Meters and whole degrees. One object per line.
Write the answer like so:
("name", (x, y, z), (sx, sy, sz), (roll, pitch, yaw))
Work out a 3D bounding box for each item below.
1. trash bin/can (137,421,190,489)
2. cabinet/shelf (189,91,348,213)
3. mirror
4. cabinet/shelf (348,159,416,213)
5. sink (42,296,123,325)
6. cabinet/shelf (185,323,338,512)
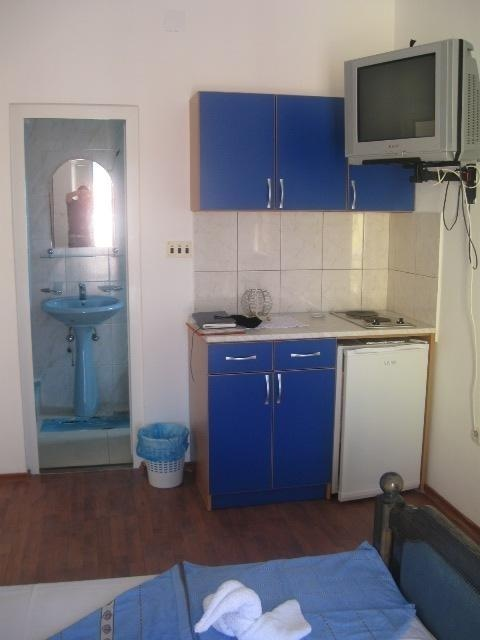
("trash bin/can", (-0.433, 0.751, 3.035), (0.272, 0.344, 0.322), (0, 1, -4))
("cabinet/shelf", (0.168, -0.872, 2.877), (0.803, 0.618, 0.298), (-2, 5, -10))
("mirror", (-0.939, -0.723, 3.127), (0.458, 0.771, 0.013), (0, 13, -6))
("cabinet/shelf", (0.782, -0.738, 2.939), (0.405, 0.311, 0.236), (-1, 6, -11))
("sink", (-0.947, -0.060, 3.201), (0.463, 0.183, 0.209), (-1, 6, -16))
("cabinet/shelf", (0.132, 0.423, 2.977), (0.758, 0.989, 0.767), (-9, 23, -19))
